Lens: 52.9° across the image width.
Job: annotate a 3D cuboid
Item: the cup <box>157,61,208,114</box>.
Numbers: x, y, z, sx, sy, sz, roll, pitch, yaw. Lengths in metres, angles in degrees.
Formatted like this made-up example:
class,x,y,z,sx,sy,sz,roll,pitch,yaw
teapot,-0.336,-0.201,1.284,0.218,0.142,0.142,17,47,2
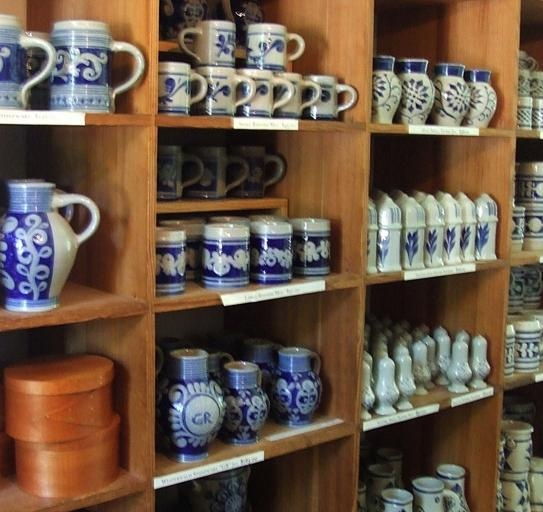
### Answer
class,x,y,z,sx,sy,sz,roll,pitch,yaw
cup,-0.185,-0.344,1.131,0.056,0.109,0.145,2,7,25

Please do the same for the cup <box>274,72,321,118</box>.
class,x,y,z,sx,sy,sz,roll,pitch,yaw
cup,0.058,-0.367,1.270,0.120,0.136,0.079,10,12,23

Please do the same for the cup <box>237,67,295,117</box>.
class,x,y,z,sx,sy,sz,roll,pitch,yaw
cup,-0.018,-0.365,1.227,0.123,0.114,0.081,10,10,28

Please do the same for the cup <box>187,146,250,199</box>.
class,x,y,z,sx,sy,sz,roll,pitch,yaw
cup,-0.137,-0.212,1.406,0.152,0.150,0.103,1,4,-8

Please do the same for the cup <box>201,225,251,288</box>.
class,x,y,z,sx,sy,sz,roll,pitch,yaw
cup,-0.097,-0.004,1.264,0.105,0.149,0.111,0,2,0

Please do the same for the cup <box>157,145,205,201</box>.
class,x,y,z,sx,sy,sz,roll,pitch,yaw
cup,-0.224,-0.203,1.348,0.072,0.131,0.132,1,6,17

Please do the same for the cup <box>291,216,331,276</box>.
class,x,y,z,sx,sy,sz,roll,pitch,yaw
cup,0.097,-0.026,1.392,0.098,0.147,0.115,-1,6,-4

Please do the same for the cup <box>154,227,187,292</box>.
class,x,y,z,sx,sy,sz,roll,pitch,yaw
cup,-0.210,0.009,1.185,0.085,0.184,0.100,1,3,-12

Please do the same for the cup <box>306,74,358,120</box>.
class,x,y,z,sx,sy,sz,roll,pitch,yaw
cup,0.146,-0.380,1.317,0.123,0.117,0.086,2,2,1
